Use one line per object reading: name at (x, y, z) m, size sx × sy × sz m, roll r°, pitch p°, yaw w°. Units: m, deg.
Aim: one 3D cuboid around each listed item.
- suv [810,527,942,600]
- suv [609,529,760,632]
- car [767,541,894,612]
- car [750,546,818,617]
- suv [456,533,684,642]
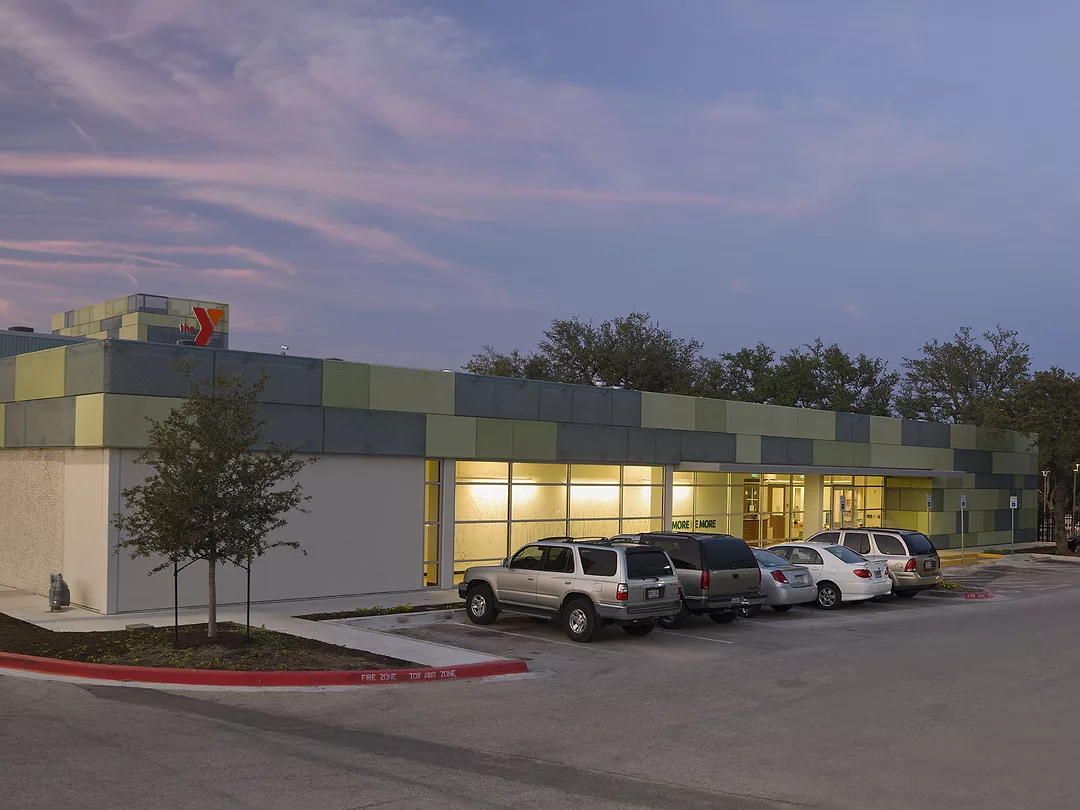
suv at (9.080, 4.295, 33.305) m, size 3.653 × 1.423 × 1.701 m, roll 2°, pitch -1°, yaw 39°
suv at (3.151, 3.779, 27.210) m, size 3.188 × 1.438 × 1.725 m, roll 2°, pitch 1°, yaw 44°
car at (7.268, 4.348, 30.843) m, size 3.190 × 1.048 × 1.515 m, roll 2°, pitch -1°, yaw 34°
car at (5.723, 4.252, 28.757) m, size 1.698 × 1.183 × 0.750 m, roll 0°, pitch 3°, yaw -36°
suv at (0.360, 3.806, 25.473) m, size 4.832 × 1.992 × 1.699 m, roll 2°, pitch 2°, yaw 35°
